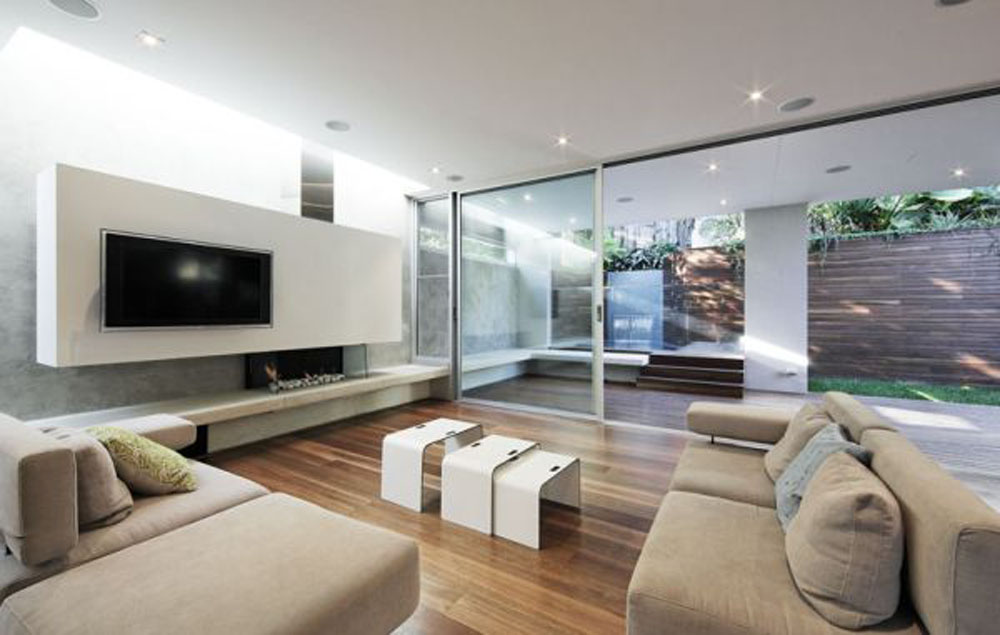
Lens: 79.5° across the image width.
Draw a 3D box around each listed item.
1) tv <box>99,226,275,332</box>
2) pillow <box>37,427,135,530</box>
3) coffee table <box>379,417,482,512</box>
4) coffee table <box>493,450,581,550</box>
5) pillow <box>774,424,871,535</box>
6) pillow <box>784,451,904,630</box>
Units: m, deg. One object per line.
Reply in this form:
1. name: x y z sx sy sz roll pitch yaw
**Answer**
1. tv: -3.115 -0.379 5.853 0.111 0.638 1.178 -1 -2 43
2. pillow: -2.843 1.119 4.100 0.706 0.463 0.368 3 1 38
3. coffee table: -0.679 1.280 5.604 0.637 0.679 1.130 4 3 32
4. coffee table: 0.277 1.425 5.167 0.624 0.649 0.881 0 1 31
5. pillow: 2.262 1.159 4.301 0.191 0.635 0.646 34 46 15
6. pillow: 2.209 1.428 4.036 0.770 0.946 1.476 -2 -4 29
